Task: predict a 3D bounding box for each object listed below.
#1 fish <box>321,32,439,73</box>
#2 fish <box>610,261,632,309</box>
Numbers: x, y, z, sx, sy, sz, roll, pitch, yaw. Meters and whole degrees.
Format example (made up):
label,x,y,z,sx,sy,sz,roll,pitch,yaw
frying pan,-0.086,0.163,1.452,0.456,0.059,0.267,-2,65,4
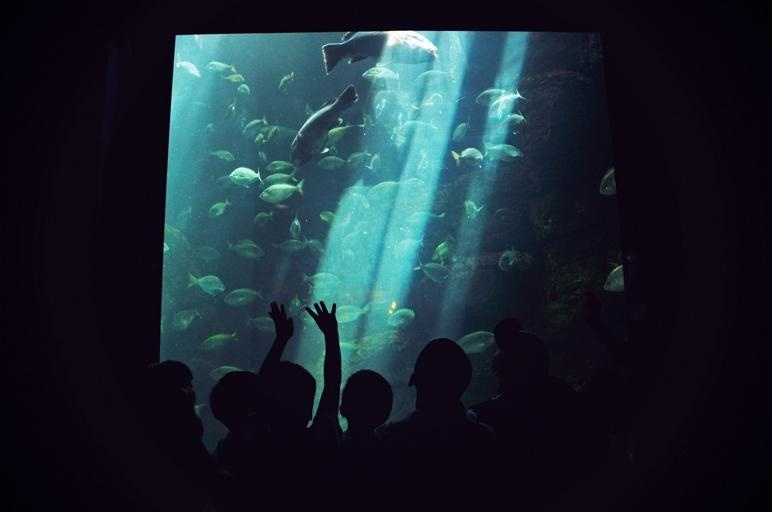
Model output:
label,x,y,z,sx,sy,sz,roll,pitch,yaw
fish,-0.051,-2.475,8.317,1.433,0.482,0.541,-12,14,-36
fish,2.076,0.245,5.981,0.140,0.308,0.238,4,-5,19
